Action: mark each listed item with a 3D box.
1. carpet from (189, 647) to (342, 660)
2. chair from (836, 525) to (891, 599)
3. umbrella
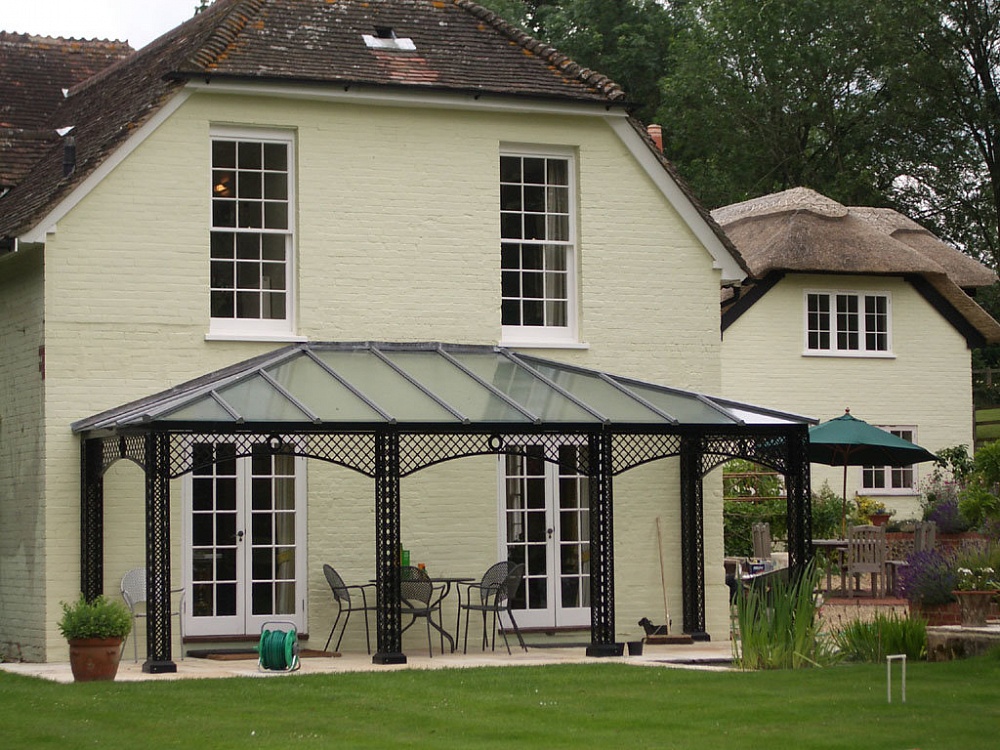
[{"bbox_3d":[-3.726,4.336,36.288,2.219,0.217,1.176,1,-9,-13],"label":"carpet"},{"bbox_3d":[6.906,3.584,44.067,0.912,1.262,3.001,-3,-9,8],"label":"chair"},{"bbox_3d":[6.577,1.709,42.605,2.537,2.206,2.565,2,-7,-20],"label":"umbrella"}]
